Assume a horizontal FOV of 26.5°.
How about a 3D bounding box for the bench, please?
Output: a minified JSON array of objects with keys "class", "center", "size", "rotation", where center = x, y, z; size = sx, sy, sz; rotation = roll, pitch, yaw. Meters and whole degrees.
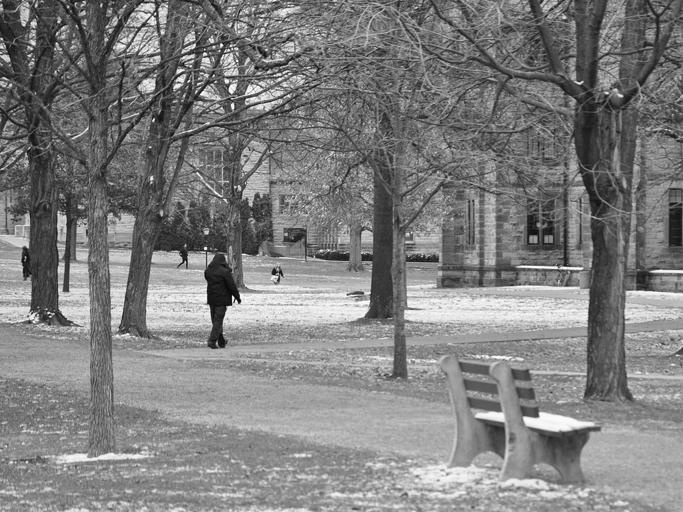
[{"class":"bench","center":[2.448,2.299,20.501],"size":[1.678,1.607,2.181],"rotation":[1,0,-29]}]
